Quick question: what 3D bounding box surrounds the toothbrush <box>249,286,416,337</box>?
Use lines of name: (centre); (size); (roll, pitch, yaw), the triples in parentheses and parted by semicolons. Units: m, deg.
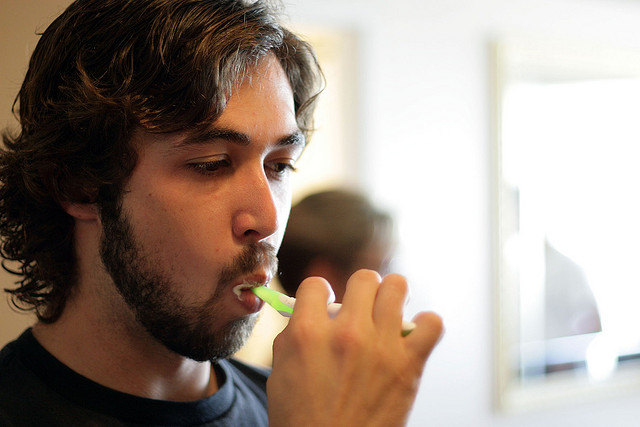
toothbrush: (0.030, 0.284, 1.914); (0.480, 0.139, 0.077); (-1, 8, 11)
